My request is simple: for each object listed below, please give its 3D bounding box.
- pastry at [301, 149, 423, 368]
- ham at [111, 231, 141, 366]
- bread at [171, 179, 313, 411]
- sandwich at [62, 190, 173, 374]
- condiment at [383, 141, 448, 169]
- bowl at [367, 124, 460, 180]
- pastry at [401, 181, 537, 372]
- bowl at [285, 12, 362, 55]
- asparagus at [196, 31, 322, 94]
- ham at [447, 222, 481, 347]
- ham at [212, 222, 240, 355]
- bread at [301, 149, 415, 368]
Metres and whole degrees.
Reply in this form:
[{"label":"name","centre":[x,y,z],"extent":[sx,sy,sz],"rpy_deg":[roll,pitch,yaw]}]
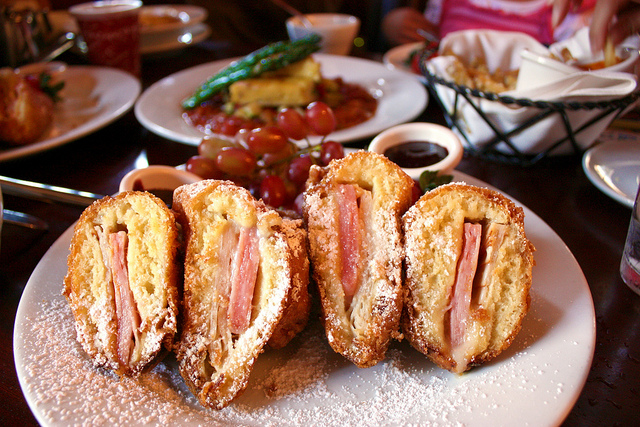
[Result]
[{"label":"pastry","centre":[0.152,0.200,2.675],"extent":[0.450,0.296,0.972],"rpy_deg":[-1,86,2]},{"label":"ham","centre":[-0.844,0.364,2.471],"extent":[0.118,0.133,0.541],"rpy_deg":[-6,81,-7]},{"label":"bread","centre":[-0.347,0.319,2.465],"extent":[0.601,0.484,0.845],"rpy_deg":[-4,51,-1]},{"label":"sandwich","centre":[-0.875,0.296,2.455],"extent":[0.484,0.413,0.633],"rpy_deg":[-3,51,-1]},{"label":"condiment","centre":[0.503,-0.332,3.093],"extent":[0.279,0.341,0.156],"rpy_deg":[-4,99,-27]},{"label":"bowl","centre":[0.542,-0.350,3.074],"extent":[0.341,0.138,0.356],"rpy_deg":[-3,33,2]},{"label":"pastry","centre":[0.628,0.282,2.602],"extent":[0.549,0.270,0.808],"rpy_deg":[7,80,2]},{"label":"bowl","centre":[0.002,-1.560,4.886],"extent":[0.520,0.429,0.562],"rpy_deg":[-1,25,1]},{"label":"asparagus","centre":[-0.453,-1.108,4.286],"extent":[0.984,0.142,0.144],"rpy_deg":[-22,55,-5]},{"label":"ham","centre":[0.696,0.298,2.597],"extent":[0.134,0.173,0.914],"rpy_deg":[45,27,-5]},{"label":"ham","centre":[-0.408,0.348,2.553],"extent":[0.117,0.118,0.548],"rpy_deg":[6,79,-21]},{"label":"bread","centre":[0.171,0.194,2.524],"extent":[0.448,0.315,0.951],"rpy_deg":[-1,67,1]}]
